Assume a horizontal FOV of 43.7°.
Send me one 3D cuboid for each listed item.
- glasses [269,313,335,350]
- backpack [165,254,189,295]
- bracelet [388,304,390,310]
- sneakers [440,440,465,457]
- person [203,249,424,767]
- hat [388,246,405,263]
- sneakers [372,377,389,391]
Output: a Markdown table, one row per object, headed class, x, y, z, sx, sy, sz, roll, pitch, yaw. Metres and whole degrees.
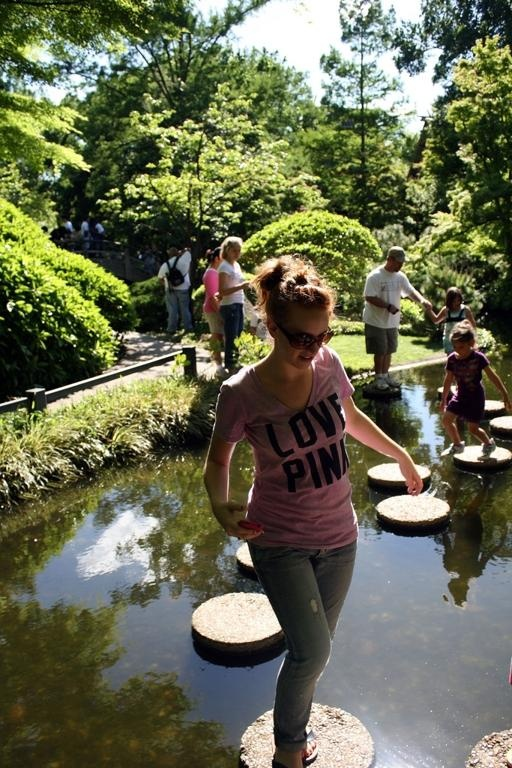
| class | x | y | z | sx | sy | sz | roll | pitch | yaw |
| --- | --- | --- | --- | --- | --- | --- | --- | --- | --- |
| glasses | 0.147 | -0.149 | 1.892 | 0.177 | 0.089 | 0.121 | -5 | 10 | -4 |
| backpack | -1.717 | -2.403 | 13.990 | 0.424 | 0.782 | 0.563 | 16 | 38 | 34 |
| bracelet | 1.754 | -1.013 | 8.416 | 0.013 | 0.050 | 0.053 | 4 | -8 | -22 |
| sneakers | 1.920 | 0.632 | 6.226 | 0.200 | 0.091 | 0.067 | -31 | 27 | 20 |
| person | 0.103 | 0.404 | 2.070 | 0.424 | 1.607 | 0.633 | -1 | 12 | 18 |
| hat | 1.764 | -1.681 | 8.185 | 0.188 | 0.152 | 0.259 | -23 | 39 | -38 |
| sneakers | 1.774 | -0.012 | 9.058 | 0.112 | 0.144 | 0.294 | -6 | 9 | -6 |
